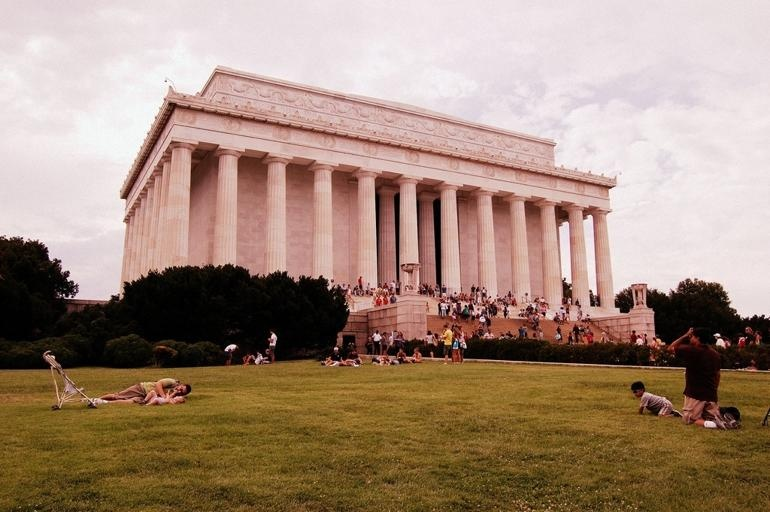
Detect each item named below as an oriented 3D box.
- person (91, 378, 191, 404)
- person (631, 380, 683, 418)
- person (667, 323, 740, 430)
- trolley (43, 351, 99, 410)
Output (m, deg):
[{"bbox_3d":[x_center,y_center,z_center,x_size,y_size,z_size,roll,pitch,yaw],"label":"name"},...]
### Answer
[{"bbox_3d":[-5.930,3.493,15.475,1.478,0.498,0.964,-2,6,-23],"label":"person"},{"bbox_3d":[6.344,3.412,14.393,1.256,0.707,0.689,10,-1,6],"label":"person"},{"bbox_3d":[6.800,2.621,13.192,1.030,2.144,0.685,-1,-2,21],"label":"person"},{"bbox_3d":[-7.765,3.151,15.352,1.265,1.419,1.027,2,-13,-35],"label":"trolley"}]
